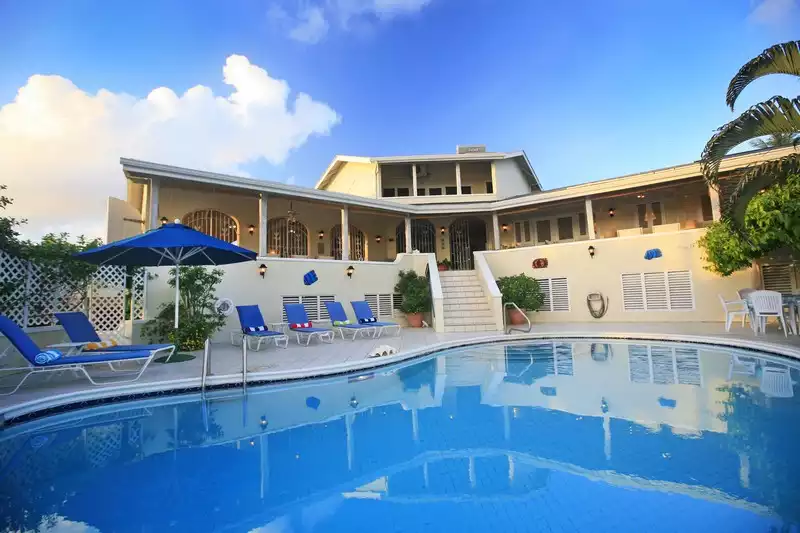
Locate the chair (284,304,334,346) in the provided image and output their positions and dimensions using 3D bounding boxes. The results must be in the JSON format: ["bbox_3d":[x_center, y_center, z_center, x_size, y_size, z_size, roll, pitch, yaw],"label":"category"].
[{"bbox_3d":[-3.072,1.983,15.637,1.126,1.405,1.915,-1,3,-44],"label":"chair"}]

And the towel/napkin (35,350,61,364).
[{"bbox_3d":[-8.016,2.055,10.461,0.284,0.105,0.289,5,1,9],"label":"towel/napkin"}]

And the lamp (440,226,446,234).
[{"bbox_3d":[2.330,-1.958,24.721,0.285,0.401,0.146,2,-3,5],"label":"lamp"}]

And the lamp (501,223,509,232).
[{"bbox_3d":[5.740,-2.103,25.028,0.390,0.440,0.407,0,-3,-3],"label":"lamp"}]

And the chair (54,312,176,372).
[{"bbox_3d":[-7.441,1.877,11.911,2.361,1.304,1.506,1,-5,-7],"label":"chair"}]

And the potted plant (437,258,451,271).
[{"bbox_3d":[2.140,-0.078,22.205,0.523,0.365,0.529,1,-7,0],"label":"potted plant"}]
